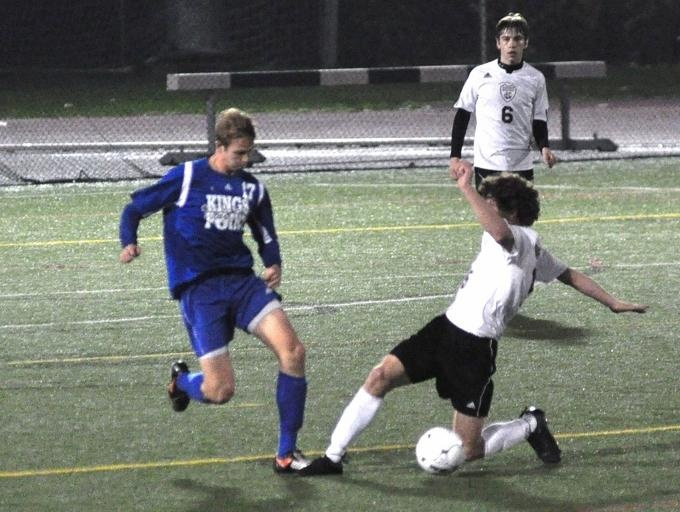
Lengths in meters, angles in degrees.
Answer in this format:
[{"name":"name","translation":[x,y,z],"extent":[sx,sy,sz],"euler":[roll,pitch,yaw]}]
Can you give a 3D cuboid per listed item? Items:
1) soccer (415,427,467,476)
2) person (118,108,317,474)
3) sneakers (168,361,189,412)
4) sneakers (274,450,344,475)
[{"name":"soccer","translation":[0.567,1.171,6.612],"extent":[0.209,0.252,0.248],"euler":[-2,47,-20]},{"name":"person","translation":[-0.712,0.177,6.961],"extent":[1.338,2.172,0.705],"euler":[8,19,27]},{"name":"sneakers","translation":[-1.083,0.886,7.236],"extent":[0.143,0.350,0.165],"euler":[-2,-2,-1]},{"name":"sneakers","translation":[-0.193,1.313,6.816],"extent":[0.468,0.172,0.148],"euler":[-2,-2,4]}]
